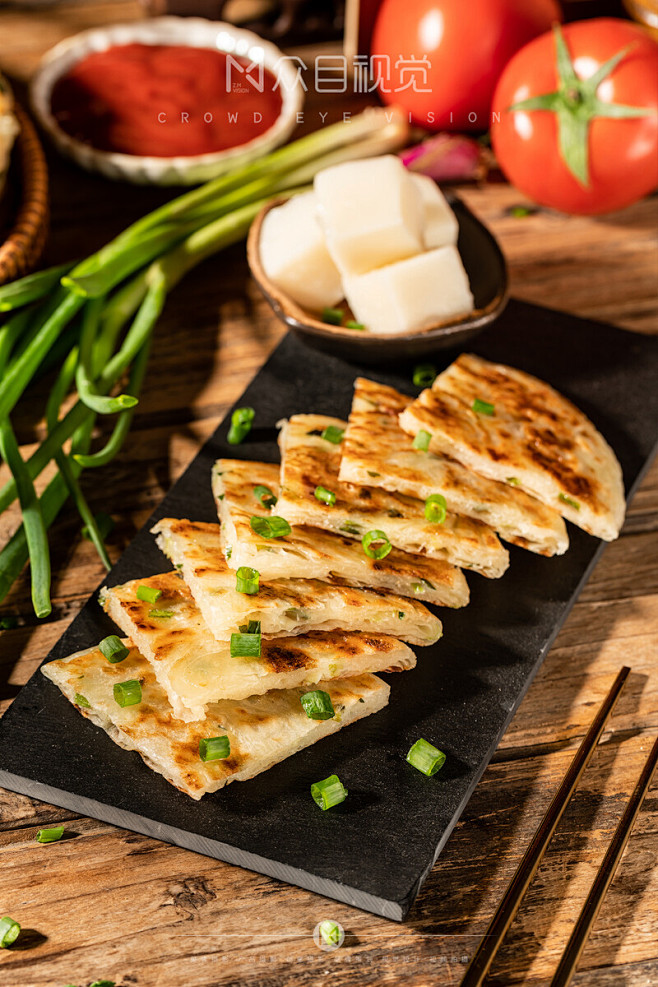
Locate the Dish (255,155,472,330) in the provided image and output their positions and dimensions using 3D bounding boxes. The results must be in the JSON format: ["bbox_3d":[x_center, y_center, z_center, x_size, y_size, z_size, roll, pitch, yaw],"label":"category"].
[{"bbox_3d":[0.106,-0.790,3.019,0.705,0.280,0.563,6,76,10],"label":"Dish"}]

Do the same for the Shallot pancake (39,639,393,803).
[{"bbox_3d":[-0.365,0.539,2.328,0.454,0.077,0.494,27,38,38],"label":"Shallot pancake"}]

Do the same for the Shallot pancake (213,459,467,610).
[{"bbox_3d":[0.014,0.155,2.563,0.507,0.111,0.485,11,29,-4],"label":"Shallot pancake"}]

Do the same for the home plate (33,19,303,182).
[{"bbox_3d":[-0.652,-1.714,3.843,0.981,0.216,0.900,0,48,-1],"label":"home plate"}]

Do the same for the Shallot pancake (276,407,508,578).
[{"bbox_3d":[0.158,0.050,2.645,0.533,0.130,0.495,20,23,-10],"label":"Shallot pancake"}]

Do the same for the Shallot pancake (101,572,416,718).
[{"bbox_3d":[-0.192,0.383,2.393,0.463,0.091,0.454,-11,32,-26],"label":"Shallot pancake"}]

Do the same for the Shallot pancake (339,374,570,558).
[{"bbox_3d":[0.312,-0.091,2.794,0.556,0.132,0.535,25,20,10],"label":"Shallot pancake"}]
